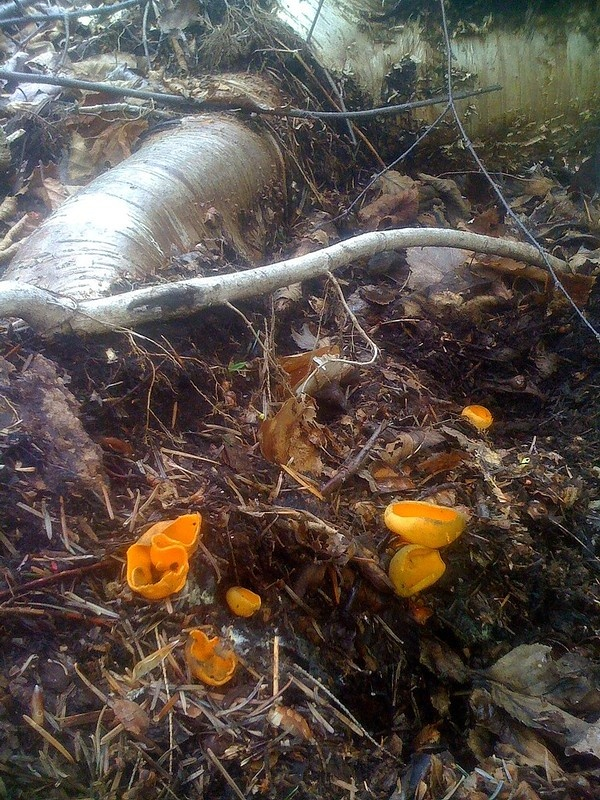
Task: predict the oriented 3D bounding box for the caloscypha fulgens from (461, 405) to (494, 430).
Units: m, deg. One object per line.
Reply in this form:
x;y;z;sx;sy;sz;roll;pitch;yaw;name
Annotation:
0.834;0.079;3.165;0.126;0.092;0.122;21;18;-25;caloscypha fulgens

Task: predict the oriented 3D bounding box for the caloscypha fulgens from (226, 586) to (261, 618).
-0.204;0.720;2.394;0.126;0.090;0.100;-14;35;0;caloscypha fulgens
